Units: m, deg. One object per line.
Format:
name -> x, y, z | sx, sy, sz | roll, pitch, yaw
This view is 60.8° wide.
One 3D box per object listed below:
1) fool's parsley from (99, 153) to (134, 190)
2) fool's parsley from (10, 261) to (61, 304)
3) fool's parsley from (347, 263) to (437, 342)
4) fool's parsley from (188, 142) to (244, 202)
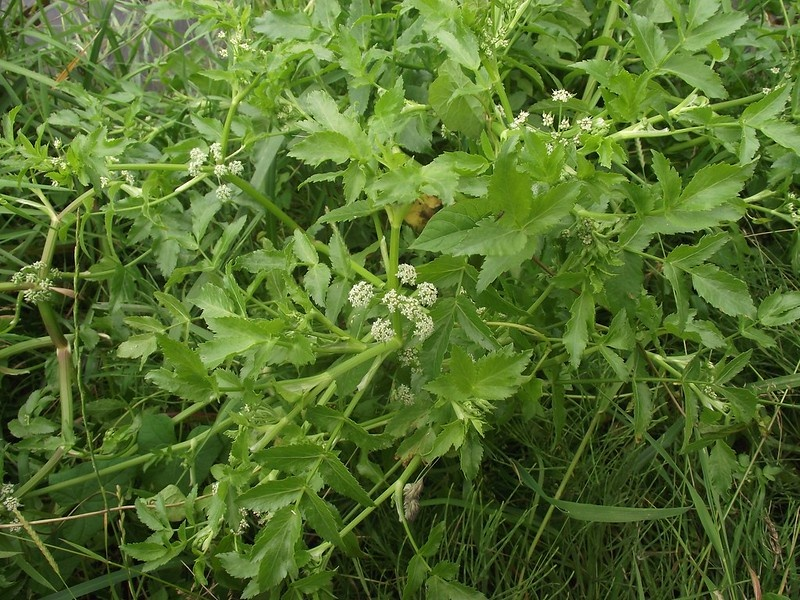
fool's parsley -> -0.850, -0.373, 2.015 | 0.114, 0.039, 0.117 | 11, 69, -20
fool's parsley -> -1.154, -0.058, 2.145 | 0.134, 0.068, 0.142 | -11, 67, -25
fool's parsley -> -0.018, 0.018, 1.775 | 0.210, 0.086, 0.216 | 11, 62, 11
fool's parsley -> -0.570, -0.403, 2.117 | 0.175, 0.185, 0.096 | 31, 67, 16
